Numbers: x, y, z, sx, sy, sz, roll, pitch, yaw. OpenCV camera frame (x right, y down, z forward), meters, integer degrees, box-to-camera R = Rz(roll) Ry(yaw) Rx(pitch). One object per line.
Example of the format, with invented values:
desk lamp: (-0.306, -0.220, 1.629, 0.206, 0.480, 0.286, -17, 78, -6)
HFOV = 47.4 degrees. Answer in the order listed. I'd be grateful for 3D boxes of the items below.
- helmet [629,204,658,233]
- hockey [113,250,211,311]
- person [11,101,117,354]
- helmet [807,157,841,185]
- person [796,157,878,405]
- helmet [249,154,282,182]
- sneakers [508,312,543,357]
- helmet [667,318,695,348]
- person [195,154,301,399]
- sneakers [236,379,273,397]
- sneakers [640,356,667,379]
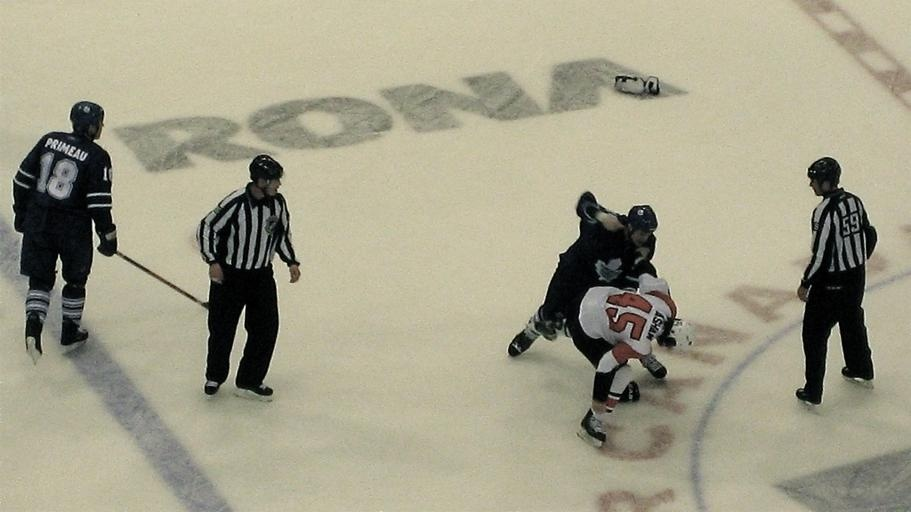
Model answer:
helmet: (2.144, -0.442, 12.041, 0.311, 0.304, 0.195, -2, 8, 4)
hockey: (-3.682, 0.262, 12.822, 1.796, 0.174, 0.117, 25, -14, 23)
person: (-4.670, -0.367, 12.412, 1.135, 2.920, 0.669, -6, 9, -19)
helmet: (4.377, -1.043, 12.444, 0.384, 0.299, 0.302, 21, 23, 29)
person: (4.581, 0.290, 12.518, 0.916, 2.971, 0.366, -5, 9, -14)
helmet: (-2.141, -1.039, 11.768, 0.365, 0.303, 0.264, -11, 34, -14)
sneakers: (0.871, 0.982, 13.011, 0.172, 0.552, 0.237, 41, -2, 14)
helmet: (2.654, 0.865, 11.973, 0.262, 0.297, 0.321, 1, 10, -40)
person: (-2.390, 0.278, 11.958, 1.096, 2.820, 0.399, -5, 9, -13)
sneakers: (-2.379, 1.562, 12.283, 0.425, 0.184, 0.172, 5, 22, -9)
sneakers: (2.425, 1.361, 12.832, 0.407, 0.148, 0.162, 42, 8, 10)
